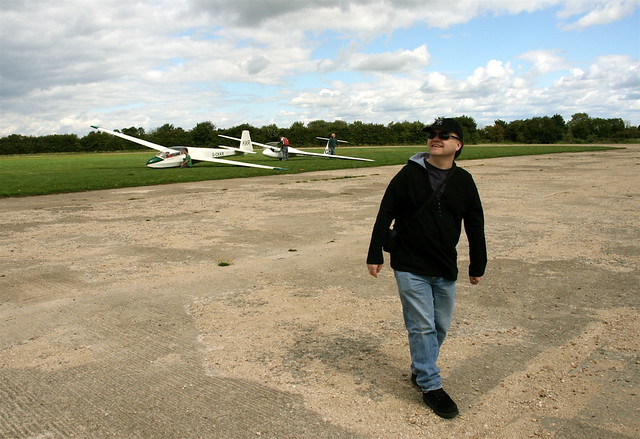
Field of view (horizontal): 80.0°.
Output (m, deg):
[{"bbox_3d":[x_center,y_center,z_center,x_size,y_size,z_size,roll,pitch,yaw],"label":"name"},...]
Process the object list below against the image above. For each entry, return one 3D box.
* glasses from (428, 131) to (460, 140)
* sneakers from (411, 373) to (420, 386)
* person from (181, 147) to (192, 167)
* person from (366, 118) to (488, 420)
[{"bbox_3d":[1.290,-0.877,3.957,0.295,0.098,0.109,0,11,12],"label":"glasses"},{"bbox_3d":[1.036,1.760,4.188,0.089,0.132,0.055,-10,-7,-17],"label":"sneakers"},{"bbox_3d":[-10.444,-4.953,30.062,0.577,1.443,0.918,-1,12,11],"label":"person"},{"bbox_3d":[1.157,0.414,4.085,0.856,2.977,1.083,8,17,43],"label":"person"}]
